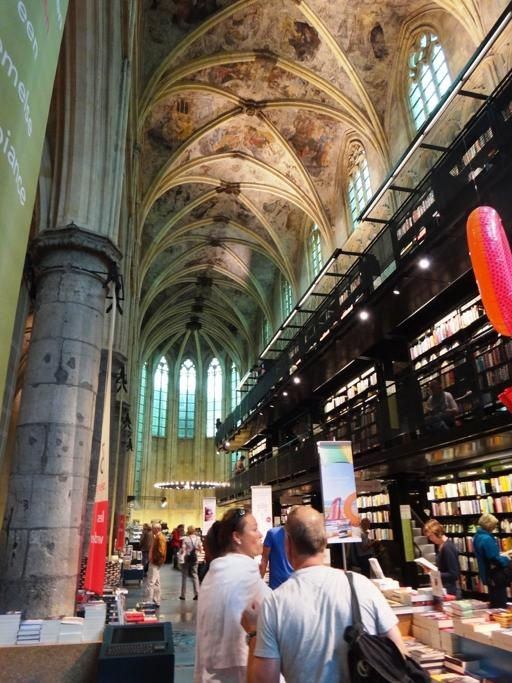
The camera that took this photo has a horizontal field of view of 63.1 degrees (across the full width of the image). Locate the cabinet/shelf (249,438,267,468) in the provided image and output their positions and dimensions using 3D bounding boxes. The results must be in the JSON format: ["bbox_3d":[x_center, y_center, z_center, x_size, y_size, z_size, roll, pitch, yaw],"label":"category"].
[{"bbox_3d":[0.061,6.520,24.726,0.655,1.241,4.413,1,-21,-6],"label":"cabinet/shelf"}]

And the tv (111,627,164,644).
[{"bbox_3d":[-0.749,1.849,2.643,0.322,0.054,0.259,4,-22,-17],"label":"tv"}]
